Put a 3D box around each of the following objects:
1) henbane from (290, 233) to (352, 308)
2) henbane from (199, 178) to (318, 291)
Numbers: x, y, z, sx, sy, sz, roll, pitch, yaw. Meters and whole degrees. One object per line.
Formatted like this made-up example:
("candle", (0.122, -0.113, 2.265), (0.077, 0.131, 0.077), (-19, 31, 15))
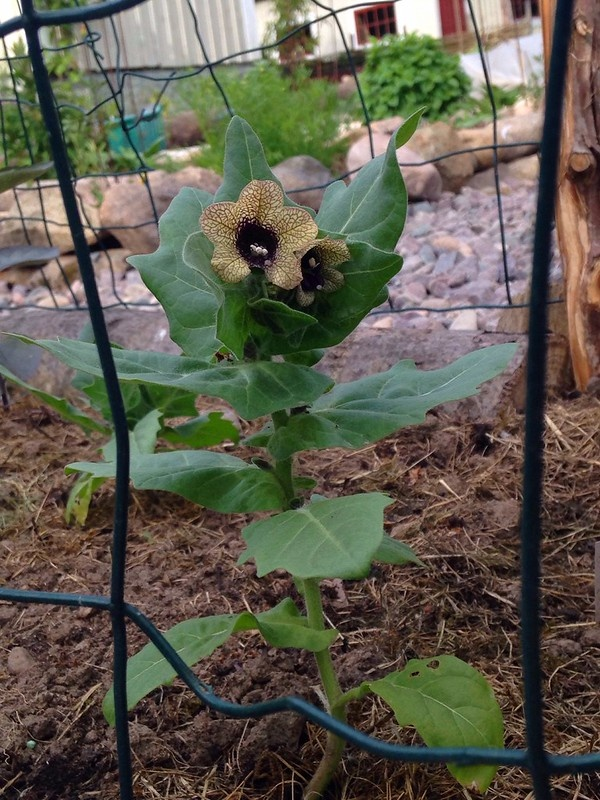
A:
("henbane", (0.021, -0.145, 0.827), (0.067, 0.073, 0.033), (-46, 31, 19))
("henbane", (-0.031, -0.178, 0.773), (0.139, 0.115, 0.053), (-7, -5, -6))
